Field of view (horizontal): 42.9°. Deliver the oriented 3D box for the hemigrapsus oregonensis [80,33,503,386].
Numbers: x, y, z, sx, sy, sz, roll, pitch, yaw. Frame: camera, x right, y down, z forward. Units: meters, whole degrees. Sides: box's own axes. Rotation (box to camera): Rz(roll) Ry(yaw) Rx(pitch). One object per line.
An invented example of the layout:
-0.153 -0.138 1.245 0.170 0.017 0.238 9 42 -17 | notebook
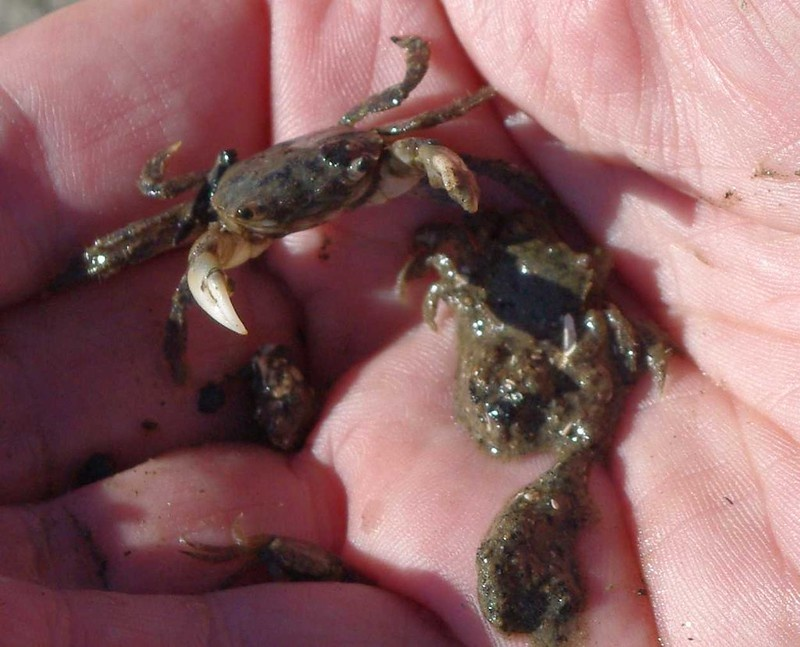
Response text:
-0.361 -0.370 3.456 1.434 0.451 0.749 -26 66 3 | hemigrapsus oregonensis
